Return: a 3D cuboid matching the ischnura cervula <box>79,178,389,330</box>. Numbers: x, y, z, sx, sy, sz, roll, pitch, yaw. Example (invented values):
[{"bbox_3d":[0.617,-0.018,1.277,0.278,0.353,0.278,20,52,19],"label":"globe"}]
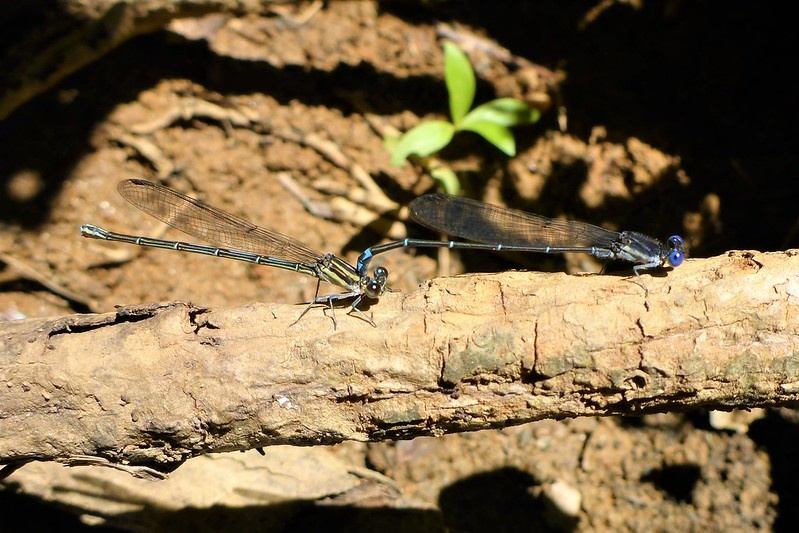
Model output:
[{"bbox_3d":[-0.977,-0.015,8.377,2.508,0.977,0.880,7,7,-26],"label":"ischnura cervula"}]
